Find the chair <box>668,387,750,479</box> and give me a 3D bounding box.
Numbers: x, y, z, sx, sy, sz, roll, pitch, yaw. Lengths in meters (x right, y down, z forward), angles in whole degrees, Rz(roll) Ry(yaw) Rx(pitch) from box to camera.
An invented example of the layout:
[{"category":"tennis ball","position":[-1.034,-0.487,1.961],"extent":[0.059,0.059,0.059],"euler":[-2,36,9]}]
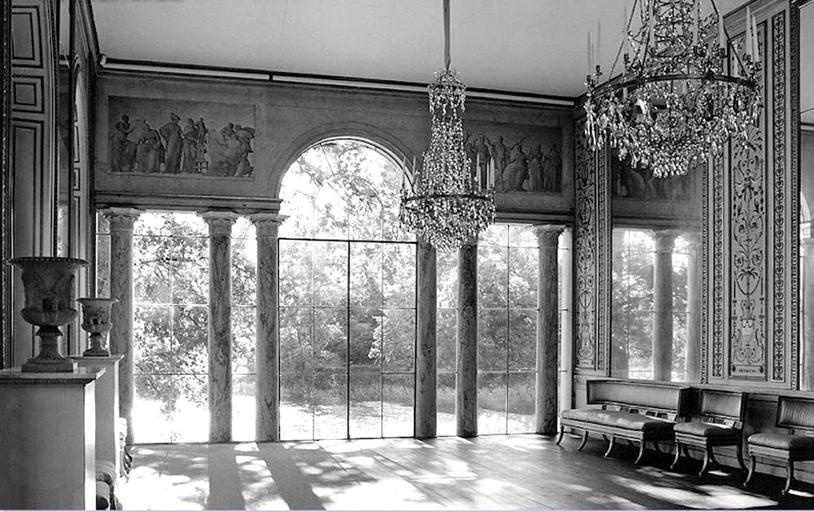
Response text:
[{"category":"chair","position":[5.960,3.399,16.977],"extent":[1.418,2.080,1.460],"euler":[4,-7,-20]}]
